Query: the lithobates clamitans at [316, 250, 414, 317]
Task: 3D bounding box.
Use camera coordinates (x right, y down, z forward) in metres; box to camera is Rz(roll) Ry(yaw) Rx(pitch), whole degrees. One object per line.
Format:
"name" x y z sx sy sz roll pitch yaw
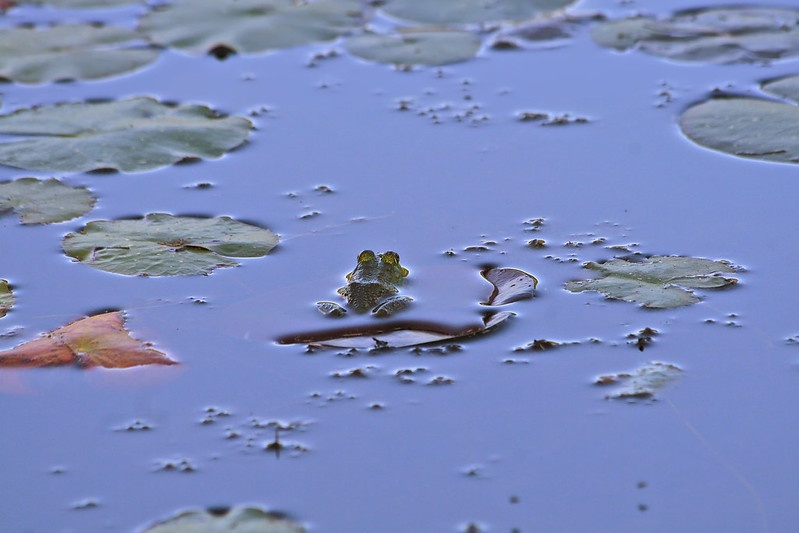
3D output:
"lithobates clamitans" -0.224 0.170 8.792 0.811 0.199 0.673 1 23 10
